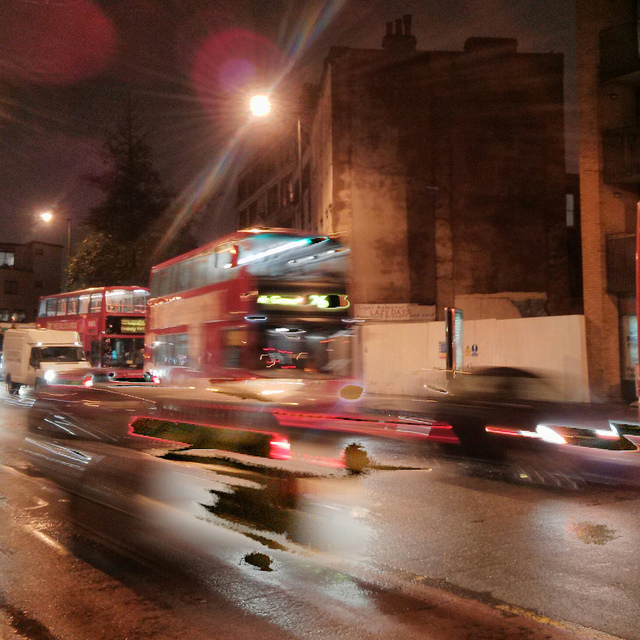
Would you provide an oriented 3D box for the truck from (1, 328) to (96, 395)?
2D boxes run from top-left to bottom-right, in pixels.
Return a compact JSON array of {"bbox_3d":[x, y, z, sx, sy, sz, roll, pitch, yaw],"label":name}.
[{"bbox_3d":[-10.145,1.526,22.768,2.742,2.919,5.821,1,-4,-37],"label":"truck"}]

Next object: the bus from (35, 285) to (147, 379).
[{"bbox_3d":[-11.524,0.650,30.701,2.619,4.162,8.768,4,-2,-41],"label":"bus"}]
